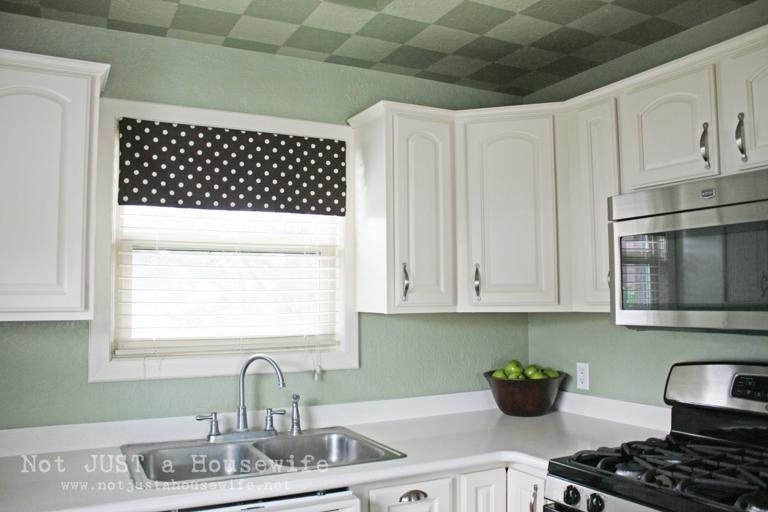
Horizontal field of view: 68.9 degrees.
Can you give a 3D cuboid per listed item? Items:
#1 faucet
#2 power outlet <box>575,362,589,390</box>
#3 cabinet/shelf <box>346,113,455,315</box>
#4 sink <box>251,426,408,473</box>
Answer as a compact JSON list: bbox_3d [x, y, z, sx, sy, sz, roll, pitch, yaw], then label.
[{"bbox_3d":[-0.618,0.676,2.793,0.243,0.376,0.278,-2,-3,-10],"label":"faucet"},{"bbox_3d":[1.153,0.697,3.251,0.011,0.161,0.086,0,-3,-37],"label":"power outlet"},{"bbox_3d":[0.114,-0.247,3.004,0.573,1.093,0.255,-2,-3,0],"label":"cabinet/shelf"},{"bbox_3d":[-0.268,0.945,2.616,0.502,0.160,0.606,0,-3,-36],"label":"sink"}]
